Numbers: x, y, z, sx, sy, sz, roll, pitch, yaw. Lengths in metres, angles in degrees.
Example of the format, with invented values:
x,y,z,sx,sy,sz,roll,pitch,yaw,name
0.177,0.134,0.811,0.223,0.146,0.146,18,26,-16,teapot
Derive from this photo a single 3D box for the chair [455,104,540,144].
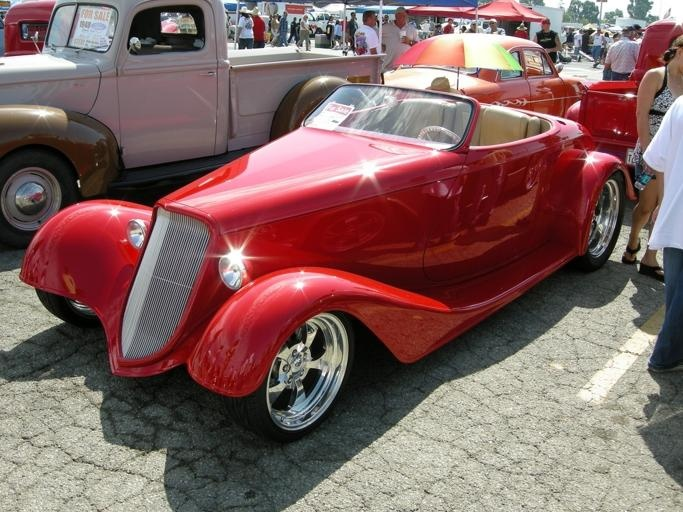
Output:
x,y,z,sx,sy,sz,roll,pitch,yaw,name
1.677,-1.358,5.221,0.707,0.559,0.514,0,23,-22,chair

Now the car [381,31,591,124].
x,y,z,sx,sy,sz,roll,pitch,yaw,name
3.345,-3.496,9.452,4.369,1.665,2.371,-11,28,-24,car

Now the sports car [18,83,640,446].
x,y,z,sx,sy,sz,roll,pitch,yaw,name
0.669,-0.327,4.439,5.261,1.606,2.451,-19,27,-37,sports car

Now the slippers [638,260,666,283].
x,y,z,sx,sy,sz,roll,pitch,yaw,name
3.276,0.171,5.236,0.314,0.118,0.118,17,11,31,slippers

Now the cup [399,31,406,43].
x,y,z,sx,sy,sz,roll,pitch,yaw,name
1.706,-6.200,13.765,0.187,0.212,0.228,0,3,2,cup

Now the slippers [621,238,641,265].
x,y,z,sx,sy,sz,roll,pitch,yaw,name
3.279,-0.053,5.607,0.120,0.080,0.329,7,62,28,slippers
